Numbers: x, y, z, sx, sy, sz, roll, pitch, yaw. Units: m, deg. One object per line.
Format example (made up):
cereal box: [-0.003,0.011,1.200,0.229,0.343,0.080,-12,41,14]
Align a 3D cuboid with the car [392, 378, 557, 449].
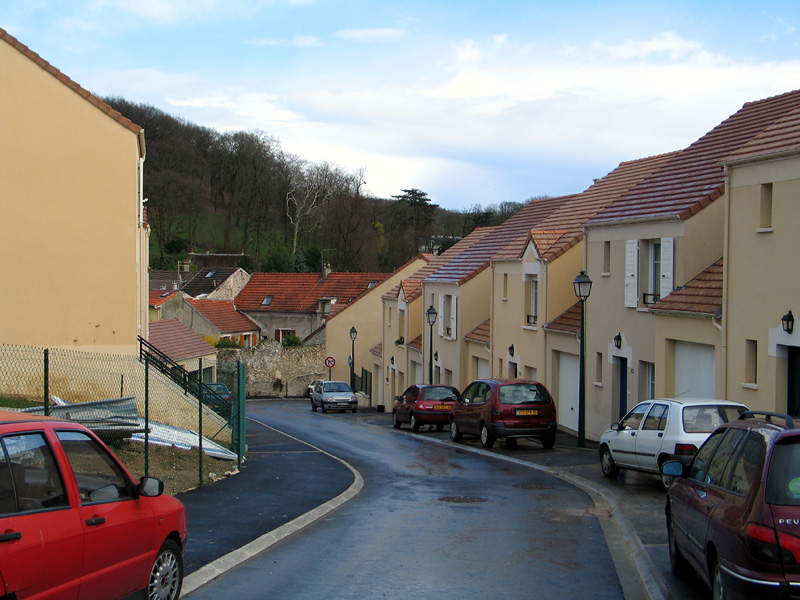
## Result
car: [2.643,3.024,29.447,1.426,1.491,3.450,3,0,-18]

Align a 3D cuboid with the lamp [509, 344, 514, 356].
lamp: [3.816,1.701,37.112,0.237,0.407,0.891,0,-6,3]

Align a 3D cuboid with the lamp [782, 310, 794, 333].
lamp: [7.744,0.429,21.663,0.164,0.454,0.291,0,0,-20]

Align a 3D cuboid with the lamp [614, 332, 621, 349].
lamp: [5.925,1.083,29.458,0.272,0.475,0.272,-2,-3,44]

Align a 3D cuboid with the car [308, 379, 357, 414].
car: [-3.188,4.648,52.107,1.646,1.463,2.531,0,0,-25]
